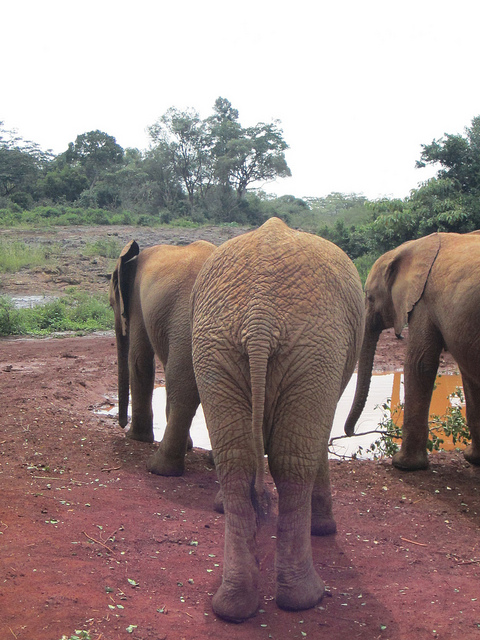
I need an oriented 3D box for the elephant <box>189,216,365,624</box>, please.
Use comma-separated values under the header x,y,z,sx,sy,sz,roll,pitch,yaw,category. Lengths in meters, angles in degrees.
x,y,z,sx,sy,sz,roll,pitch,yaw,category
0.217,0.381,4.259,0.941,1.800,2.517,1,3,5,elephant
